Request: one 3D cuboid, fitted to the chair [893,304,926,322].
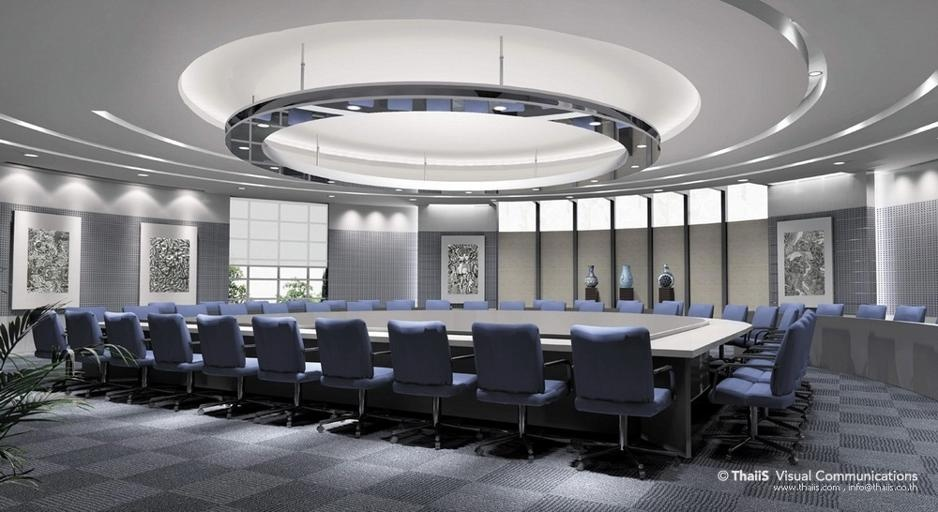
[{"bbox_3d":[8.062,1.053,10.312,0.410,0.443,0.346,21,-22,-40],"label":"chair"}]

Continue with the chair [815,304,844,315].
[{"bbox_3d":[7.462,1.119,11.674,0.361,0.314,0.347,3,2,36],"label":"chair"}]

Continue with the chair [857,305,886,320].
[{"bbox_3d":[7.887,1.085,11.049,0.295,0.308,0.543,4,12,16],"label":"chair"}]

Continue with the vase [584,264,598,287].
[{"bbox_3d":[3.539,0.571,16.217,0.377,0.618,0.775,2,13,10],"label":"vase"}]

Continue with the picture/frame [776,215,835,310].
[{"bbox_3d":[8.109,0.094,13.599,1.366,2.097,0.683,8,16,31],"label":"picture/frame"}]

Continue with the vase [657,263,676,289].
[{"bbox_3d":[5.376,0.546,15.343,0.650,0.783,0.633,-5,-6,24],"label":"vase"}]

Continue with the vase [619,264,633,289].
[{"bbox_3d":[4.407,0.567,15.769,0.387,0.653,0.710,3,13,13],"label":"vase"}]
